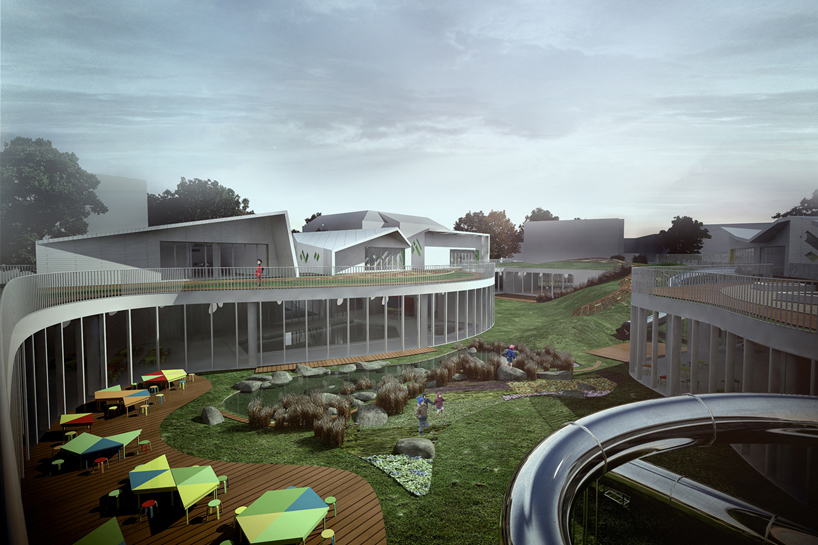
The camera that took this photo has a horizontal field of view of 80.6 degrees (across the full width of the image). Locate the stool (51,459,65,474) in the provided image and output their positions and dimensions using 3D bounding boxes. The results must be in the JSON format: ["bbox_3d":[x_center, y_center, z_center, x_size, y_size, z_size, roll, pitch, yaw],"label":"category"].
[{"bbox_3d":[-10.591,5.818,14.581,0.362,0.366,0.365,0,21,-45],"label":"stool"}]

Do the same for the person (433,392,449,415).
[{"bbox_3d":[1.253,5.220,19.116,0.774,0.931,0.429,-2,-26,6],"label":"person"}]

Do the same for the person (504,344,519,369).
[{"bbox_3d":[5.178,4.254,24.510,0.761,1.260,0.278,8,-9,17],"label":"person"}]
